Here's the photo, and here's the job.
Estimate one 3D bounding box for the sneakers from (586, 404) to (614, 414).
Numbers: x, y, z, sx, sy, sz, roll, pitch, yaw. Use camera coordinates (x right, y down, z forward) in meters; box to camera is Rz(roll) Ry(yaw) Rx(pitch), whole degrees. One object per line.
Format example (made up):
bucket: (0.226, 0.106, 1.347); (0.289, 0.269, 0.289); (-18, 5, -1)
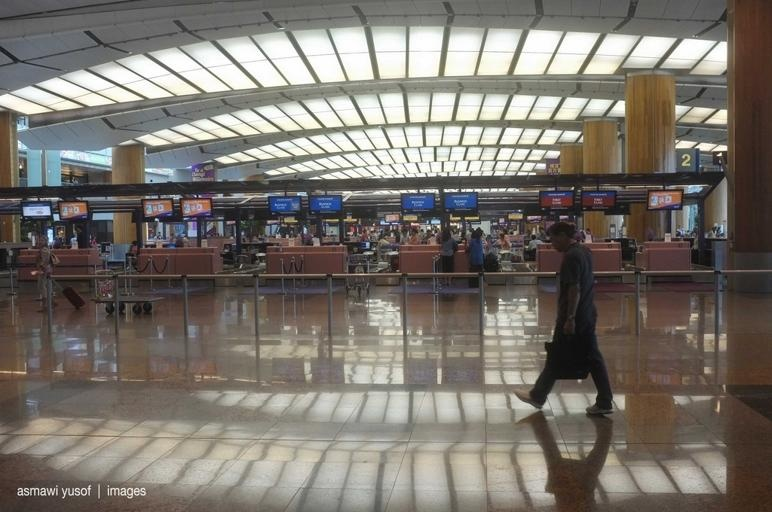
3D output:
sneakers: (3.263, 2.344, 9.553); (0.314, 0.105, 0.174); (1, -1, 13)

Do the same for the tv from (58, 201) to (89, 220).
tv: (-14.232, -2.125, 28.358); (0.938, 0.595, 0.122); (-2, 2, -3)

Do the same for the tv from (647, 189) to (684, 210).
tv: (11.250, -2.313, 25.220); (1.279, 0.789, 0.545); (2, 8, 21)

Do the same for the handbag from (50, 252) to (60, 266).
handbag: (-10.400, 0.075, 19.611); (0.260, 0.448, 0.476); (-10, -1, -17)

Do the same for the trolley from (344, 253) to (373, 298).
trolley: (-1.038, 0.580, 18.514); (1.096, 1.359, 1.064); (5, 4, 1)

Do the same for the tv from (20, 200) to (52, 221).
tv: (-15.933, -2.132, 28.572); (1.382, 0.813, 0.491); (1, 8, 16)

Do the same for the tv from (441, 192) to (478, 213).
tv: (2.983, -2.331, 24.597); (1.421, 0.811, 0.730); (2, 9, 5)

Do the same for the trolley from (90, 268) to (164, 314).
trolley: (-6.889, 1.112, 17.095); (1.590, 0.897, 1.310); (12, -6, -11)
